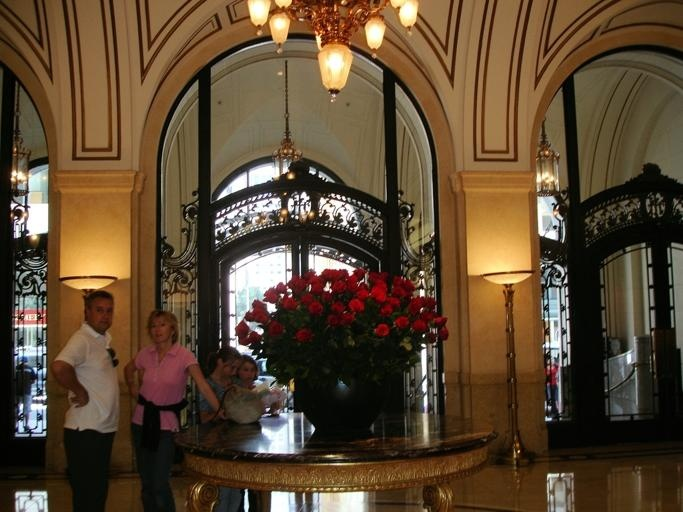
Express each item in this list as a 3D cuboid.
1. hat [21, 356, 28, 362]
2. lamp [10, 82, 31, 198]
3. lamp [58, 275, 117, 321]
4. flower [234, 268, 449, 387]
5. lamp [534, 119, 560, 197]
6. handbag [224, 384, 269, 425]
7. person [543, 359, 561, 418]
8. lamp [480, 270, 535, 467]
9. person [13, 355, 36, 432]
[{"bbox_3d":[-3.995,1.301,9.581,0.065,0.083,0.070,-4,4,-7],"label":"hat"},{"bbox_3d":[-4.173,-1.495,9.856,0.191,1.463,0.195,0,2,2],"label":"lamp"},{"bbox_3d":[-2.960,0.518,8.864,0.491,0.649,0.519,1,-4,-25],"label":"lamp"},{"bbox_3d":[-0.032,0.607,6.403,1.399,0.915,1.464,0,-3,-5],"label":"flower"},{"bbox_3d":[2.915,-1.380,10.771,0.314,1.060,0.753,0,2,14],"label":"lamp"},{"bbox_3d":[-0.784,1.186,6.204,0.280,0.317,0.300,-2,-3,-5],"label":"handbag"},{"bbox_3d":[2.812,1.777,10.142,0.182,0.771,0.244,0,2,15],"label":"person"},{"bbox_3d":[2.033,1.323,9.363,0.643,2.314,0.571,1,3,42],"label":"lamp"},{"bbox_3d":[-3.984,1.769,9.520,0.281,0.914,0.134,0,2,12],"label":"person"}]
